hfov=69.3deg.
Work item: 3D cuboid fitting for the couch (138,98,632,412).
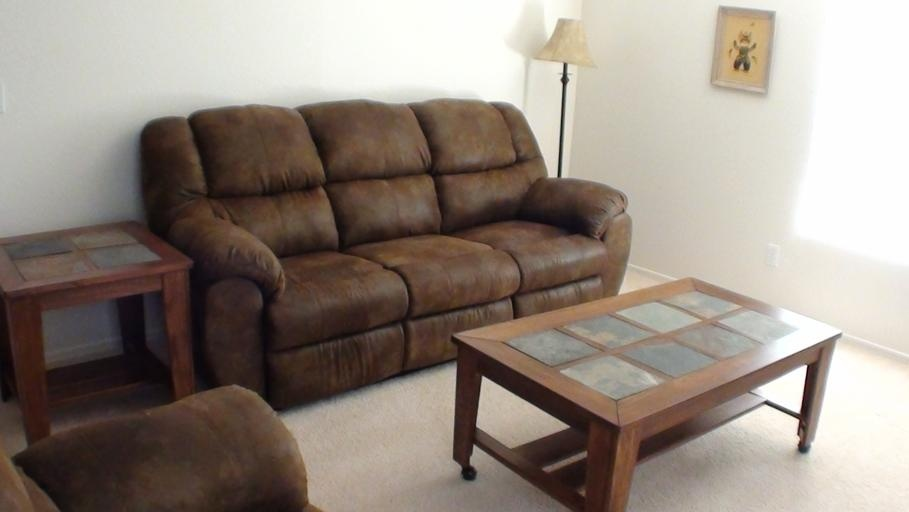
[{"bbox_3d":[-0.334,-0.216,4.689,3.273,1.489,1.425,-12,30,-37],"label":"couch"}]
